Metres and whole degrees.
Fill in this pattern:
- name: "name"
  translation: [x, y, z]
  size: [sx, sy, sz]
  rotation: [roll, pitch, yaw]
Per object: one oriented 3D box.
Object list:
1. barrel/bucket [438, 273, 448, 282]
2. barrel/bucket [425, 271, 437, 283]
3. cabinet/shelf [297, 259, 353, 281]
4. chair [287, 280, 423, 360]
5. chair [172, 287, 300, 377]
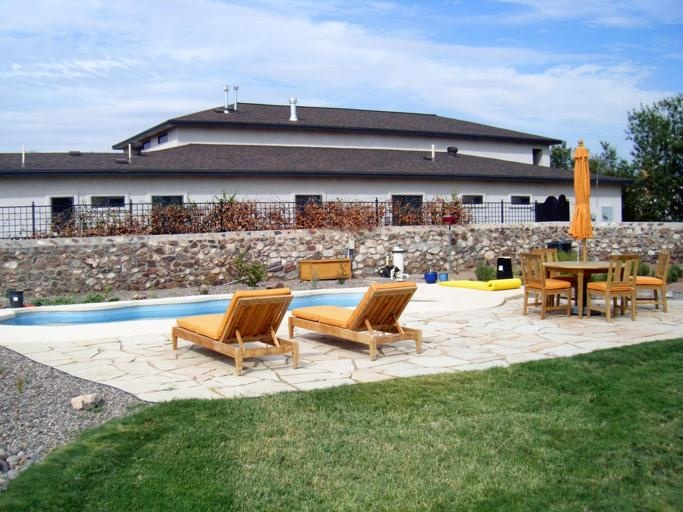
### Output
- name: "barrel/bucket"
  translation: [3.641, 0.811, 21.048]
  size: [0.331, 0.313, 0.321]
  rotation: [0, 3, 0]
- name: "barrel/bucket"
  translation: [3.152, 0.815, 20.792]
  size: [0.394, 0.299, 0.375]
  rotation: [-2, -2, 0]
- name: "cabinet/shelf"
  translation: [-0.586, 0.534, 20.682]
  size: [1.862, 0.765, 0.811]
  rotation: [-1, 9, -3]
- name: "chair"
  translation: [0.211, 1.118, 10.975]
  size: [1.249, 1.130, 2.245]
  rotation: [-1, 5, -44]
- name: "chair"
  translation: [-1.823, 1.099, 10.329]
  size: [1.215, 1.225, 2.285]
  rotation: [-2, 6, -43]
